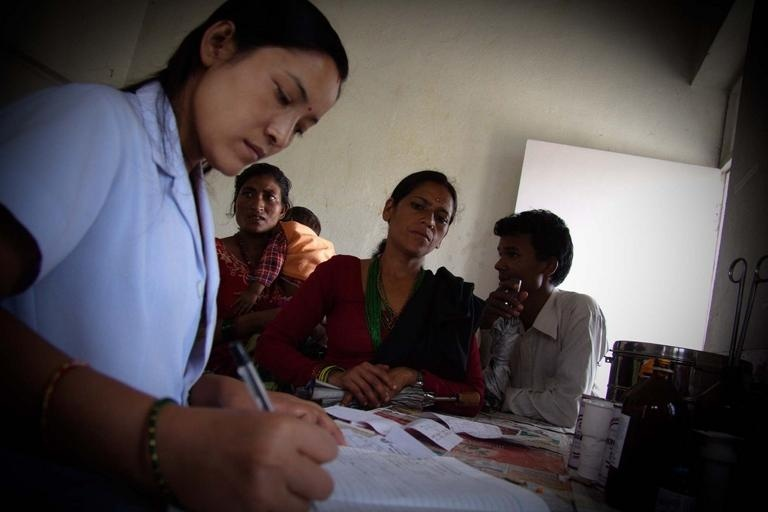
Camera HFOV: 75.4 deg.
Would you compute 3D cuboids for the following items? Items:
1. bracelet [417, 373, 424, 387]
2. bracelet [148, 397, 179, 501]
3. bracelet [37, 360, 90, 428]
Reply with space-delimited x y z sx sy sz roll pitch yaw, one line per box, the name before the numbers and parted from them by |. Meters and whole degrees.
bracelet | 0.118 0.402 1.615 0.028 0.039 0.031 12 -3 -4
bracelet | -0.313 0.264 0.681 0.027 0.103 0.110 -8 -25 -19
bracelet | -0.418 0.185 0.676 0.020 0.073 0.072 3 1 -16
